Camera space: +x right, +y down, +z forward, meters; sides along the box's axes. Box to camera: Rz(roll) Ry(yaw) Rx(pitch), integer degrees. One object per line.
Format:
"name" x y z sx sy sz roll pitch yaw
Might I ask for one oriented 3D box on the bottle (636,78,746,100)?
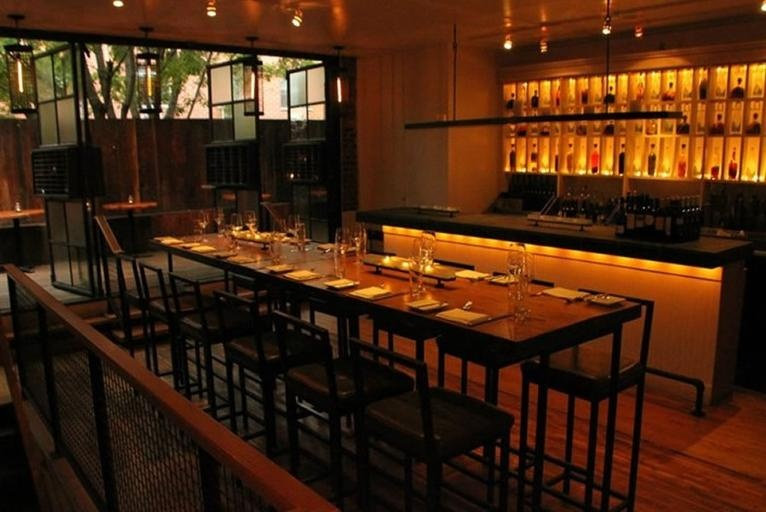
"bottle" 3.635 -1.889 6.906 0.938 0.242 0.192 10 17 44
